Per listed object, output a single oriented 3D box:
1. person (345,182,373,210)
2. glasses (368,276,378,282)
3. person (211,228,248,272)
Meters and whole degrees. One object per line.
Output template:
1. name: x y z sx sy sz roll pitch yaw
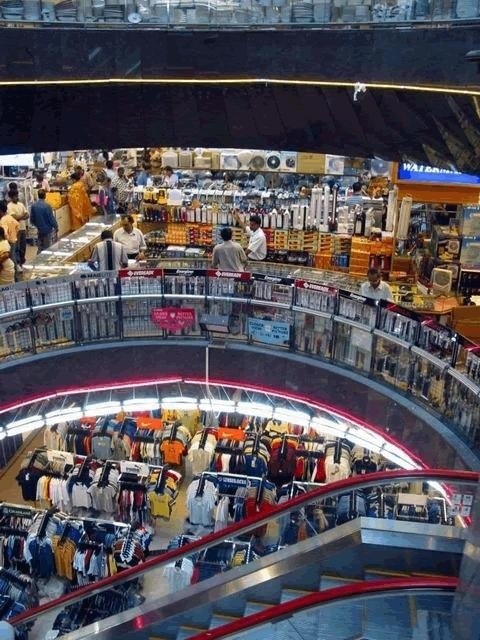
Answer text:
1. person: 2.716 -2.782 10.482 0.546 0.596 0.811 0 9 16
2. glasses: 1.798 -0.529 6.204 0.074 0.026 0.076 13 51 13
3. person: -0.116 -1.028 6.914 0.554 0.636 0.730 -4 9 -8
